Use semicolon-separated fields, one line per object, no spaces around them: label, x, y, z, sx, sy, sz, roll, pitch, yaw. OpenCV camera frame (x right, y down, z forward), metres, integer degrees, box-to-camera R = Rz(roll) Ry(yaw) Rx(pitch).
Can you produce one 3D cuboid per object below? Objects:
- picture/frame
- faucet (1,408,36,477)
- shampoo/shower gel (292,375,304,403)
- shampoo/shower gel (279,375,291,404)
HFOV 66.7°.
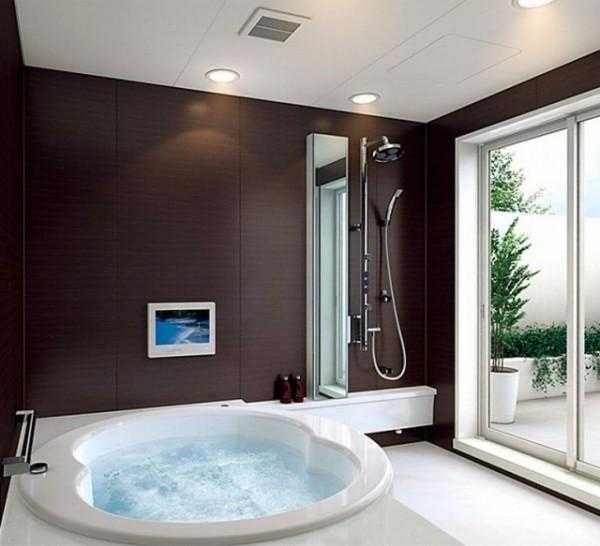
picture/frame;-0.822;0.381;3.093;0.409;0.332;0.039;1;-4;-21
faucet;-1.065;0.637;1.725;0.060;0.046;0.337;2;5;-15
shampoo/shower gel;-0.012;0.841;3.360;0.101;0.172;0.198;0;-2;0
shampoo/shower gel;-0.101;0.843;3.323;0.081;0.177;0.152;0;-2;-3
